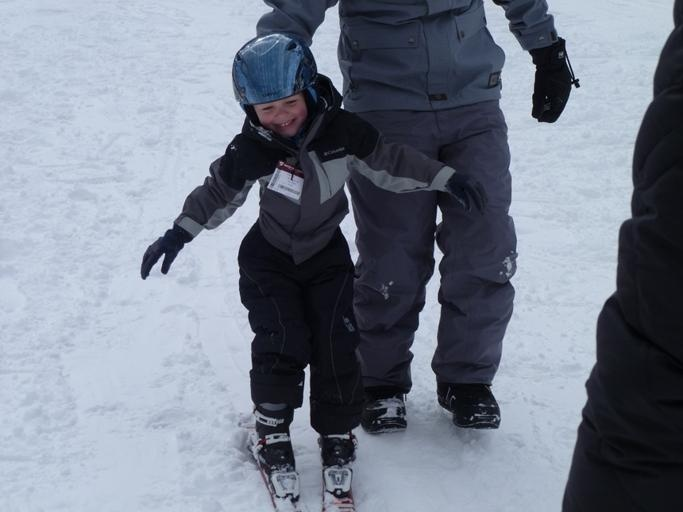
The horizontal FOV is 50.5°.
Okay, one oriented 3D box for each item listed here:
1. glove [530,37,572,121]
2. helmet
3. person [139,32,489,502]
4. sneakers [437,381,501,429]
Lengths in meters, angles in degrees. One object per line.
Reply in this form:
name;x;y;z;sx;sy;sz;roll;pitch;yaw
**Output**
glove;0.884;-0.748;3.073;0.204;0.331;0.121;2;31;3
helmet;-0.234;-0.648;2.637;0.231;0.257;0.278;-17;2;9
person;-0.131;-0.013;2.684;0.892;1.450;1.098;16;38;30
sneakers;0.546;0.577;2.987;0.196;0.198;0.440;4;0;-6
